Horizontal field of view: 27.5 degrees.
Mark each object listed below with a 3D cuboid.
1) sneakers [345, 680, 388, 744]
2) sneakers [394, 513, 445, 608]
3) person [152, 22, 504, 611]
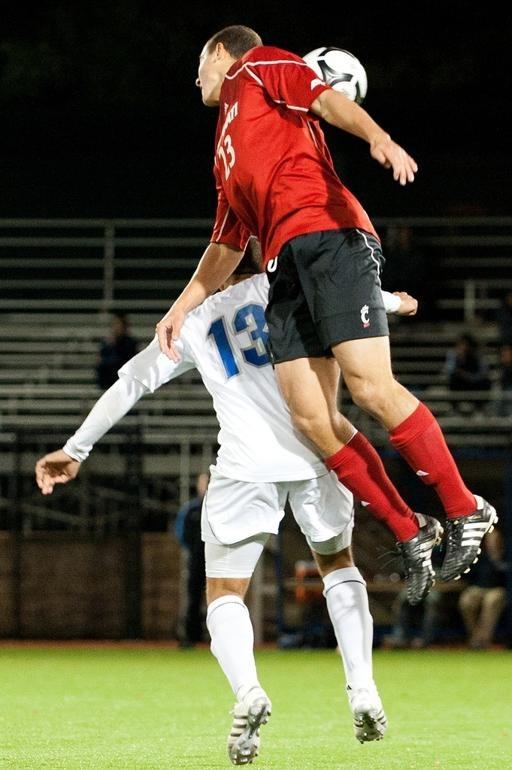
[{"bbox_3d":[0.369,1.075,3.448,0.124,0.207,0.086,0,38,31],"label":"sneakers"},{"bbox_3d":[0.552,0.584,3.545,0.189,0.311,0.118,7,-6,-23],"label":"sneakers"},{"bbox_3d":[0.223,-0.350,3.492,1.112,2.050,0.603,-9,-5,41],"label":"person"}]
